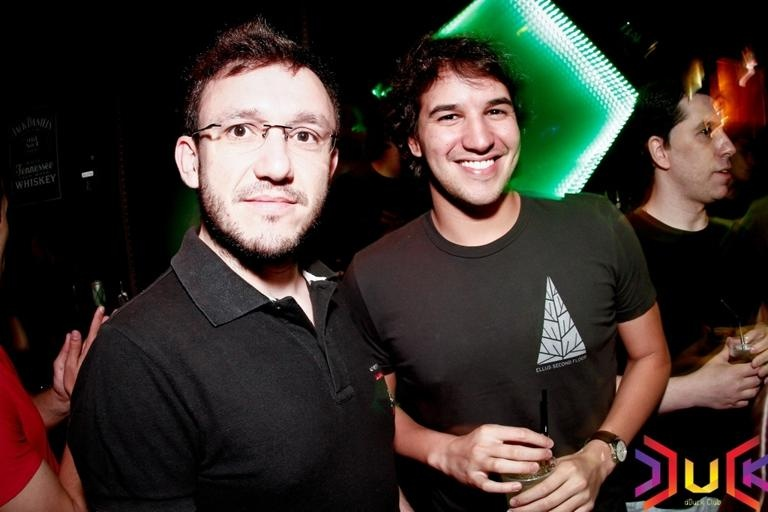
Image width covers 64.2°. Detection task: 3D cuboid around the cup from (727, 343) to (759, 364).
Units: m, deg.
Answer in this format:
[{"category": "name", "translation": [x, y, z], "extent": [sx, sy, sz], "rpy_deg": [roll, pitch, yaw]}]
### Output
[{"category": "cup", "translation": [2.126, 0.574, 3.603], "extent": [0.117, 0.083, 0.104], "rpy_deg": [0, -7, 6]}]
